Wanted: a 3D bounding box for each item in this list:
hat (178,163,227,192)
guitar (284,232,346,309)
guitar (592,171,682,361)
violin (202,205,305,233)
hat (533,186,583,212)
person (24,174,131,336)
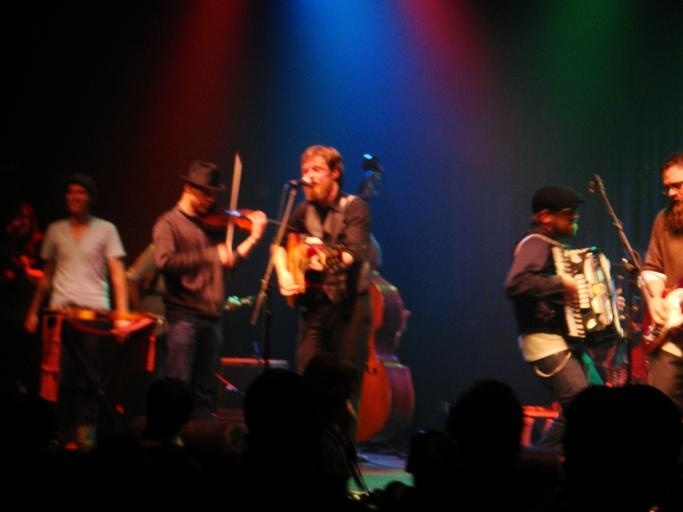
[{"bbox_3d":[-1.249,-0.720,6.053,0.320,0.127,0.290,21,6,5],"label":"hat"},{"bbox_3d":[-0.269,0.100,5.284,0.415,0.574,0.200,9,0,-15],"label":"guitar"},{"bbox_3d":[2.373,0.089,5.753,0.635,1.507,0.243,-14,-12,-39],"label":"guitar"},{"bbox_3d":[-0.805,-0.359,5.751,0.822,0.136,0.340,13,22,29],"label":"violin"},{"bbox_3d":[1.745,-0.468,5.429,0.304,0.151,0.216,-12,12,11],"label":"hat"},{"bbox_3d":[-2.323,-0.008,6.171,0.847,1.528,0.368,7,-2,-3],"label":"person"}]
